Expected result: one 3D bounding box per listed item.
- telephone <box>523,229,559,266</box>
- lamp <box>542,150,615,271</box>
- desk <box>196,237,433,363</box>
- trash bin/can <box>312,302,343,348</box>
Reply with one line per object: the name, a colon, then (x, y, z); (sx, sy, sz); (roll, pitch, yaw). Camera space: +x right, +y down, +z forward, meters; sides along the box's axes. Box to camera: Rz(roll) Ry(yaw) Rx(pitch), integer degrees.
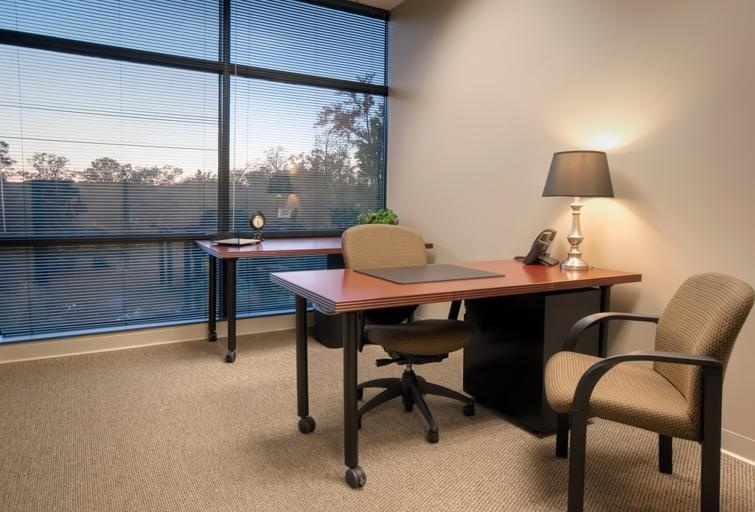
telephone: (1.154, -0.067, 4.027); (0.233, 0.233, 0.250); (7, 13, 38)
lamp: (1.370, -0.324, 3.876); (0.440, 0.799, 0.396); (3, 10, 22)
desk: (-0.518, 0.330, 4.160); (1.081, 0.492, 0.532); (-3, 7, -35)
trash bin/can: (-0.416, 0.601, 4.976); (0.377, 0.324, 0.455); (2, -2, -23)
